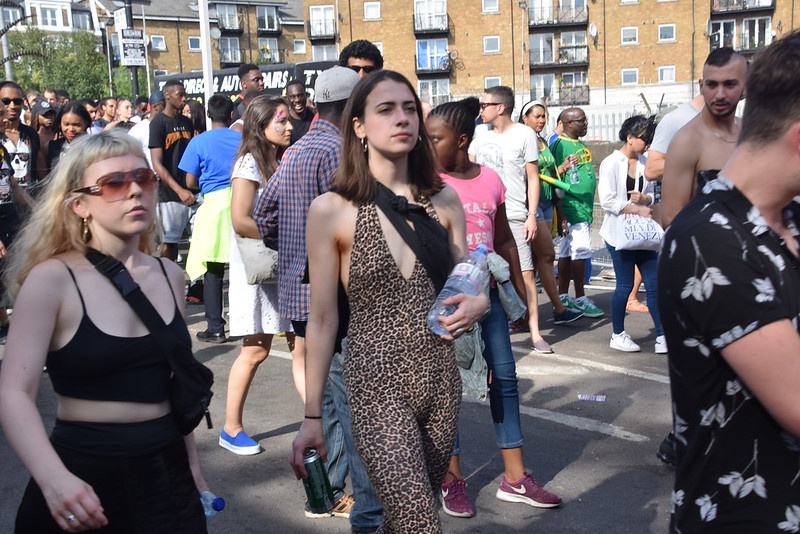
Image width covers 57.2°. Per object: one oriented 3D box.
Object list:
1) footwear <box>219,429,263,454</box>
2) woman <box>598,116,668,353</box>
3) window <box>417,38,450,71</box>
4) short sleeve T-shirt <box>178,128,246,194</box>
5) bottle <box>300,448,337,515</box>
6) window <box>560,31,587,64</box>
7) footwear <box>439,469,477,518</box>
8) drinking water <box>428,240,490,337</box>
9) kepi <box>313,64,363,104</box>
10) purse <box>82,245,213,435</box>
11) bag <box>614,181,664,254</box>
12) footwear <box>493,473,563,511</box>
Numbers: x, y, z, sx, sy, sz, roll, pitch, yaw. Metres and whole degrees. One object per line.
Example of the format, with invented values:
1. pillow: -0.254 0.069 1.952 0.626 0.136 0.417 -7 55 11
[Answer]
1. footwear: -1.220 1.354 5.620 0.296 0.132 0.148 7 5 28
2. woman: 2.514 -0.332 7.726 0.773 2.517 0.841 -3 3 -21
3. window: 2.396 -15.404 52.949 2.304 2.285 0.178 2 9 11
4. short sleeve T-shirt: -2.168 -1.381 8.762 0.860 0.735 0.444 -1 32 -2
5. bottle: -0.402 1.066 3.555 0.104 0.097 0.373 35 18 -39
6. window: 11.895 -15.059 50.605 2.184 2.799 0.204 -1 -10 5
7. footwear: 0.365 1.519 4.797 0.130 0.166 0.355 2 -6 -14
8. drinking water: 0.294 0.111 3.440 0.169 0.175 0.585 -8 47 42
9. kepi: -0.394 -1.177 4.880 0.258 0.214 0.364 8 45 24
10. purse: -1.142 0.354 3.312 0.290 0.827 0.503 -27 6 11
11. bag: 2.382 -0.348 7.305 0.496 0.540 0.204 0 -14 4
12. footwear: 0.853 1.502 4.958 0.439 0.211 0.179 5 0 7
